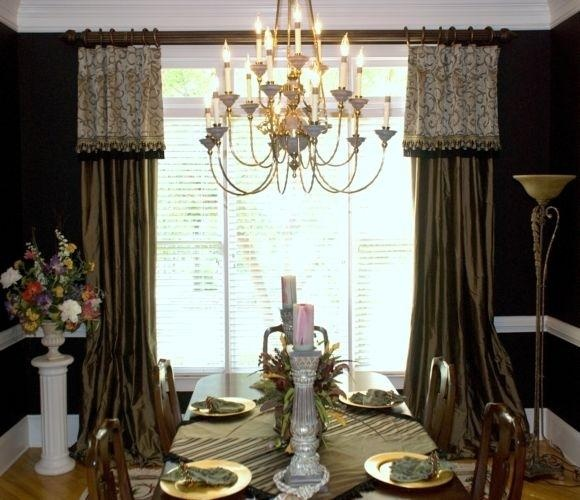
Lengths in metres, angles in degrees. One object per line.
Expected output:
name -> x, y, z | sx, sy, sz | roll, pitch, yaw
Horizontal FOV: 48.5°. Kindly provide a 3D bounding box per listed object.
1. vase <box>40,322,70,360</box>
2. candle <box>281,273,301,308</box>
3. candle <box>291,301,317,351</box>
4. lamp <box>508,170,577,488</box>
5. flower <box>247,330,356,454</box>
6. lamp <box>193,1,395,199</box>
vase -> -1.760, 0.664, 4.800 | 0.190, 0.316, 0.221 | 2, 6, -11
candle -> -0.004, 0.230, 3.446 | 0.075, 0.186, 0.069 | -1, 10, 7
candle -> 0.059, 0.333, 2.843 | 0.130, 0.295, 0.151 | -2, 3, -3
lamp -> 1.929, 0.512, 4.860 | 0.496, 2.186, 1.083 | 2, 11, 20
flower -> 0.106, 0.666, 3.083 | 0.306, 0.566, 0.375 | -12, -29, 32
lamp -> -0.001, -1.102, 4.584 | 0.943, 1.858, 1.048 | -5, 11, -18
